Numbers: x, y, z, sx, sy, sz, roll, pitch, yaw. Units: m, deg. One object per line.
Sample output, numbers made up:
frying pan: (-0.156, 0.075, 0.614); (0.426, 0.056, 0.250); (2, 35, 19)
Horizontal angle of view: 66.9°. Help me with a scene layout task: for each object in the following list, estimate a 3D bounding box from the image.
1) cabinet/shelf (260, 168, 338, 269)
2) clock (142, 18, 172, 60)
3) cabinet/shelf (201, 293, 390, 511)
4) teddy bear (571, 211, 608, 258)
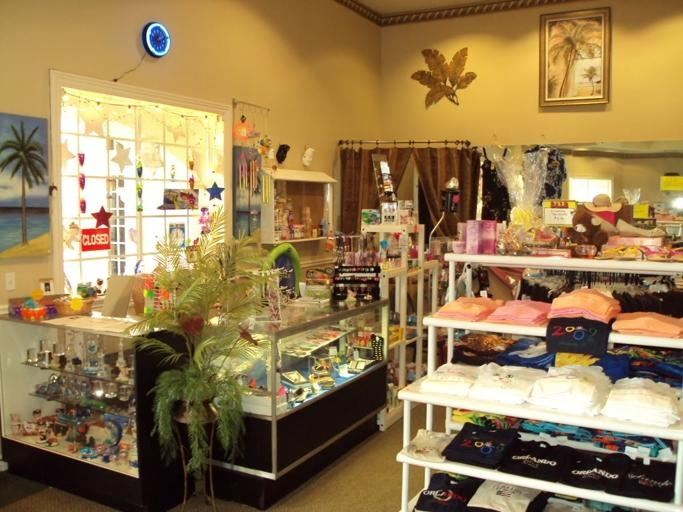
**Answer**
cabinet/shelf: (-0.574, -0.478, 6.575); (0.561, 1.405, 1.407); (1, 3, 27)
clock: (-1.789, -2.075, 4.969); (0.075, 0.305, 0.316); (1, 4, 35)
cabinet/shelf: (-0.396, 1.151, 3.956); (0.430, 0.900, 1.536); (4, 9, 31)
teddy bear: (1.547, -0.140, 3.236); (0.191, 0.264, 0.295); (4, 11, 38)
